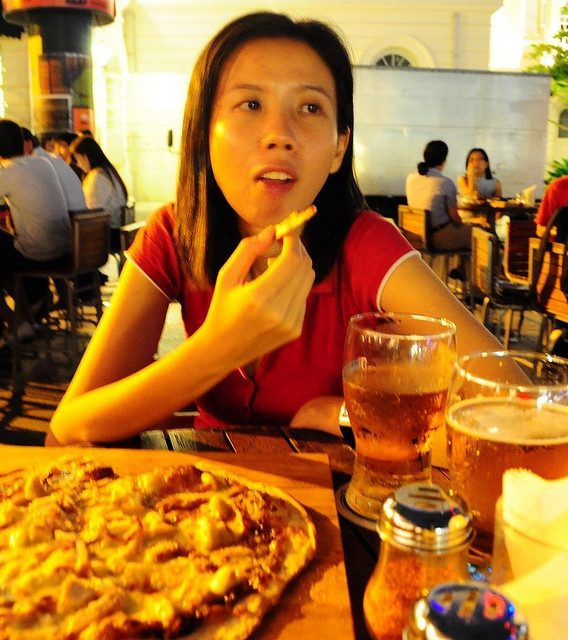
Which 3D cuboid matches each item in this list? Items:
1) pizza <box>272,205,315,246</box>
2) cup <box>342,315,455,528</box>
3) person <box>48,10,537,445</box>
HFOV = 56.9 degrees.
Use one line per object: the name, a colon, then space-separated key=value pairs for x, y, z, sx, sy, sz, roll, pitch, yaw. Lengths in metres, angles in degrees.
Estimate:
pizza: x=0.028 y=-0.185 z=1.000 sx=0.083 sy=0.058 sz=0.076 roll=6 pitch=8 yaw=33
cup: x=0.152 y=0.121 z=0.717 sx=0.134 sy=0.288 sz=0.164 roll=9 pitch=23 yaw=25
person: x=-0.055 y=-0.165 z=1.316 sx=0.918 sy=1.078 sz=0.583 roll=1 pitch=-9 yaw=-22
